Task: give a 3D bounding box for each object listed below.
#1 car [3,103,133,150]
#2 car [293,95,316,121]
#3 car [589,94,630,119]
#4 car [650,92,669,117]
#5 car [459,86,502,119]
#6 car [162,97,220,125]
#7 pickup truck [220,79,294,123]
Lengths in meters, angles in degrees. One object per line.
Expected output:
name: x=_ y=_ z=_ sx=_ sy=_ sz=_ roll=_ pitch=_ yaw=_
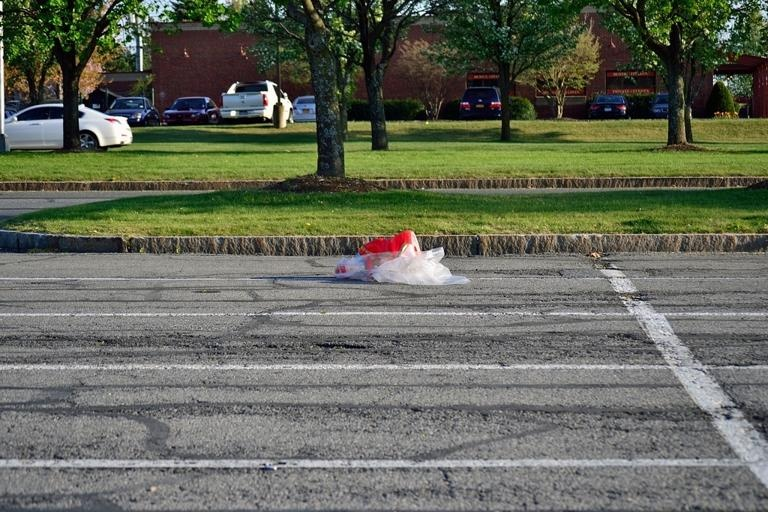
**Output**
car: x=-10.456 y=-4.331 z=43.425 sx=3.926 sy=1.409 sz=1.772 roll=2 pitch=3 yaw=1
car: x=-3.783 y=-7.053 z=61.609 sx=0.923 sy=1.228 sz=1.864 roll=-2 pitch=14 yaw=-10
car: x=11.226 y=-7.562 z=64.934 sx=1.192 sy=0.991 sz=2.945 roll=2 pitch=17 yaw=13
car: x=13.946 y=-7.706 z=66.205 sx=0.806 sy=1.025 sz=3.750 roll=2 pitch=15 yaw=10
car: x=4.438 y=-7.074 z=59.235 sx=1.484 sy=1.220 sz=3.303 roll=1 pitch=15 yaw=8
car: x=-9.109 y=-7.004 z=62.325 sx=1.758 sy=1.439 sz=3.931 roll=2 pitch=14 yaw=9
pickup truck: x=-5.377 y=-6.778 z=55.983 sx=1.586 sy=1.248 sz=3.218 roll=3 pitch=11 yaw=14
